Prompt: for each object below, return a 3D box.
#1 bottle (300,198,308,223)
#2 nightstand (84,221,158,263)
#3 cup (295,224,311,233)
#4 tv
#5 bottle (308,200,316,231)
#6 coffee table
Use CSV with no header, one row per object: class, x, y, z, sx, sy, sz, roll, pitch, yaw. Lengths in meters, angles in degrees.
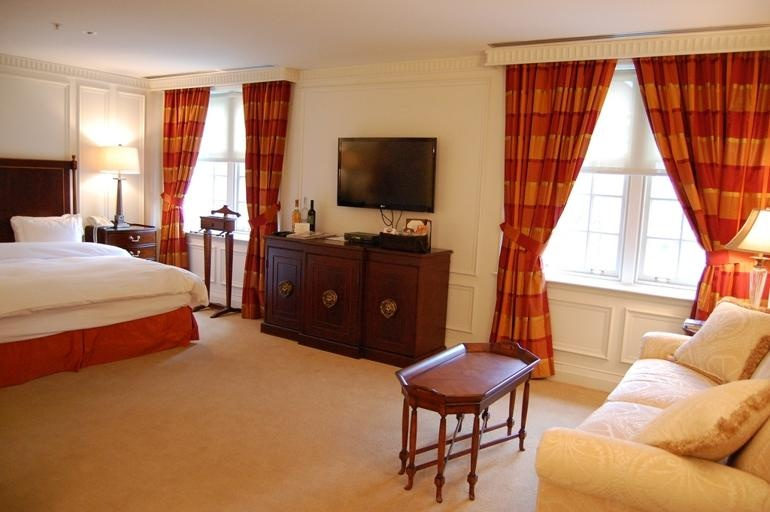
bottle,-1.000,-0.587,6.811,0.132,0.316,0.064,7,7,27
nightstand,-3.645,-0.225,7.485,0.581,0.563,0.556,6,9,39
cup,-0.974,-0.318,6.348,0.126,0.090,0.127,2,0,0
tv,0.072,-0.920,6.078,0.884,0.603,0.069,5,9,28
bottle,-0.889,-0.496,6.641,0.101,0.383,0.298,3,6,-7
coffee table,0.636,1.225,4.157,0.688,0.850,1.268,8,12,37
